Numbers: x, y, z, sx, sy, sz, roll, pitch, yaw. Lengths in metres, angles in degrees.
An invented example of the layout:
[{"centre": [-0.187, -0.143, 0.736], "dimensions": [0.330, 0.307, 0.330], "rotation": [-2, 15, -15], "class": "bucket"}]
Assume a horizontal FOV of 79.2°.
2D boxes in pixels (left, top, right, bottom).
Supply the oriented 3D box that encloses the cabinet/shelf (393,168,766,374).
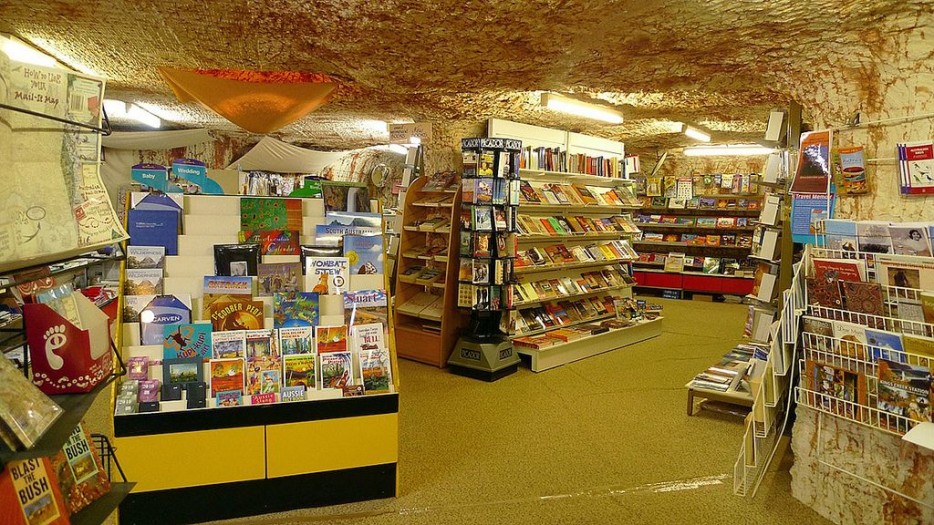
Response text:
[{"centre": [1.757, 0.169, 8.527], "dimensions": [3.867, 2.205, 1.245], "rotation": [-5, 6, -44], "class": "cabinet/shelf"}]
